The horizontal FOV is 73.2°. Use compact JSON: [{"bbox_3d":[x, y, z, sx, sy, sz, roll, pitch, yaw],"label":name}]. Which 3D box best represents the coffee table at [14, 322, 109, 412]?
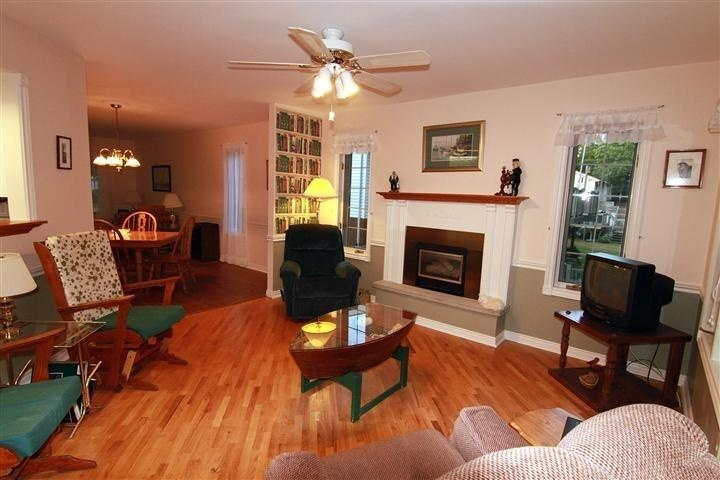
[{"bbox_3d":[-2.463,1.065,4.310,0.876,0.770,0.845,0,0,-6],"label":"coffee table"}]

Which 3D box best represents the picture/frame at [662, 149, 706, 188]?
[{"bbox_3d":[3.218,-0.706,4.793,0.400,0.498,0.035,4,4,32],"label":"picture/frame"}]

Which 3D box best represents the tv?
[{"bbox_3d":[2.513,0.487,4.842,0.796,0.740,0.708,-1,4,-16],"label":"tv"}]

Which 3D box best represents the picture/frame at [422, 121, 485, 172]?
[{"bbox_3d":[1.175,-1.154,5.947,0.703,0.534,0.031,4,8,35],"label":"picture/frame"}]

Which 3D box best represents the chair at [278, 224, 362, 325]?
[{"bbox_3d":[-0.560,0.382,6.189,1.100,1.049,1.241,-2,5,-10],"label":"chair"}]

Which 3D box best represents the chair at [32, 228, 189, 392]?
[{"bbox_3d":[-2.570,0.609,5.269,1.518,1.938,1.452,0,7,6],"label":"chair"}]

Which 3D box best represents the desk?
[{"bbox_3d":[2.550,1.201,4.859,1.166,0.749,1.211,6,7,17],"label":"desk"}]

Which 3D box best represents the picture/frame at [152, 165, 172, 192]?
[{"bbox_3d":[-4.072,-1.272,10.005,0.045,0.489,0.610,-9,10,-44],"label":"picture/frame"}]

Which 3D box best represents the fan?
[{"bbox_3d":[-0.238,-1.481,4.251,1.680,0.701,1.591,2,1,14],"label":"fan"}]

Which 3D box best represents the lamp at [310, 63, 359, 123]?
[{"bbox_3d":[-0.234,-1.364,4.261,0.307,0.320,0.310,-8,18,-36],"label":"lamp"}]

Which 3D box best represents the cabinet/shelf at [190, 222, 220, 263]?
[{"bbox_3d":[-2.808,0.040,8.777,0.434,0.750,0.572,-8,18,-38],"label":"cabinet/shelf"}]

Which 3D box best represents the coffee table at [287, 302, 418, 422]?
[{"bbox_3d":[-0.135,1.006,4.639,0.882,0.611,1.324,10,14,40],"label":"coffee table"}]

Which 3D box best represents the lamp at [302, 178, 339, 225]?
[{"bbox_3d":[-0.556,-0.545,6.916,0.444,0.670,0.745,1,9,-3],"label":"lamp"}]

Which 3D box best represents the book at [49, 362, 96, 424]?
[{"bbox_3d":[-2.509,1.300,4.210,0.122,0.444,0.500,-3,-7,16],"label":"book"}]
